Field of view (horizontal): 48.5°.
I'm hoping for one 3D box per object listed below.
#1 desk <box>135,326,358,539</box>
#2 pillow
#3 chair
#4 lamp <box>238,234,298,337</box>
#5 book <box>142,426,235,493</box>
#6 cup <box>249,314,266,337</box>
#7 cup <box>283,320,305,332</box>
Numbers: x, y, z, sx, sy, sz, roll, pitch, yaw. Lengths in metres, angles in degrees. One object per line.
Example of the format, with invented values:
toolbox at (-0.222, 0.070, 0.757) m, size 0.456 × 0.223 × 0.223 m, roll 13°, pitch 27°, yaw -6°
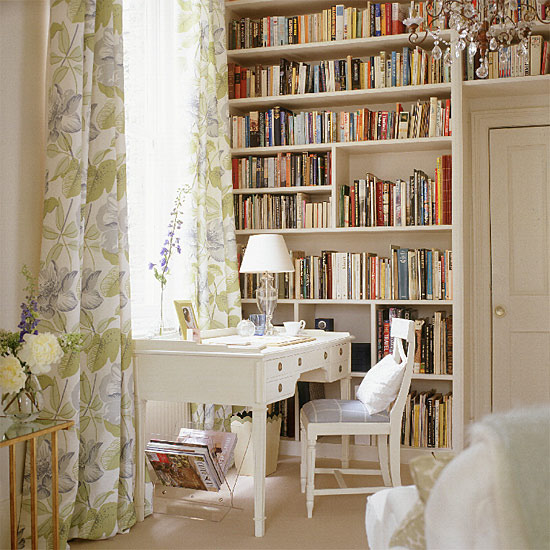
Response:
desk at (-0.021, 0.670, 2.987) m, size 0.502 × 0.778 × 0.904 m, roll -1°, pitch 0°, yaw 34°
pillow at (0.487, 0.510, 2.864) m, size 0.142 × 0.211 × 0.405 m, roll -10°, pitch -2°, yaw -7°
chair at (0.391, 0.656, 2.990) m, size 0.427 × 0.902 × 0.443 m, roll 5°, pitch -2°, yaw -2°
lamp at (-0.049, 0.046, 3.219) m, size 0.246 × 0.517 × 0.235 m, roll 1°, pitch -3°, yaw -44°
book at (-0.377, 0.817, 2.742) m, size 0.265 × 0.210 × 0.310 m, roll 3°, pitch -9°, yaw 17°
cup at (-0.087, 0.252, 3.224) m, size 0.087 × 0.111 × 0.078 m, roll -1°, pitch -2°, yaw 19°
cup at (0.108, 0.275, 3.247) m, size 0.077 × 0.061 × 0.070 m, roll 1°, pitch -4°, yaw -18°
